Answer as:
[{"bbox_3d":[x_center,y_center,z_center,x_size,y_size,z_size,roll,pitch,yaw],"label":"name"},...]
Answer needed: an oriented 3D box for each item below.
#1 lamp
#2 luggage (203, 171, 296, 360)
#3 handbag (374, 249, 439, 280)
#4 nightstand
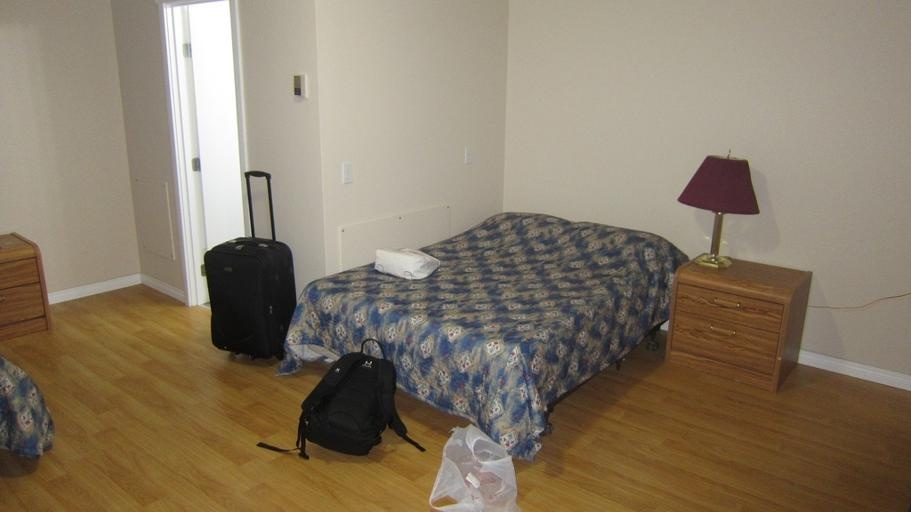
[{"bbox_3d":[2.380,-0.438,5.983,0.538,1.230,0.569,0,0,-20],"label":"lamp"},{"bbox_3d":[-1.874,0.392,5.997,0.721,1.052,0.500,5,22,17],"label":"luggage"},{"bbox_3d":[-0.423,0.070,5.931,0.495,0.160,0.275,9,19,24],"label":"handbag"},{"bbox_3d":[2.633,0.583,6.084,1.028,0.883,0.836,14,24,39],"label":"nightstand"}]
